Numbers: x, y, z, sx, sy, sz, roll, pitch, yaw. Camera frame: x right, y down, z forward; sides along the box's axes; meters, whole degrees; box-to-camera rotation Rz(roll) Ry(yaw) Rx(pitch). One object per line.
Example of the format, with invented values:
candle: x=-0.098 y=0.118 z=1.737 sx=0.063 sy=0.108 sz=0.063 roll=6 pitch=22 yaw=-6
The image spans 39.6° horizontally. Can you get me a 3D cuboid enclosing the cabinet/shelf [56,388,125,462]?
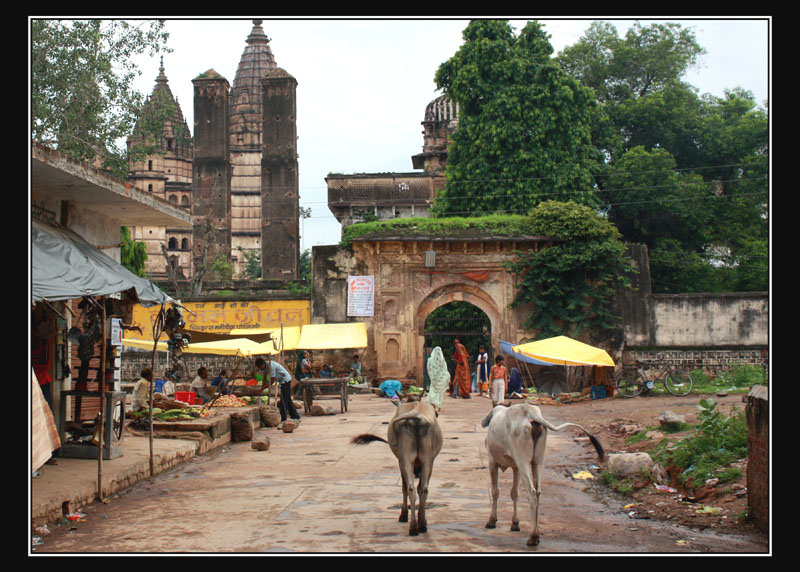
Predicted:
cabinet/shelf: x=-5.070 y=2.315 z=18.814 sx=1.125 sy=1.154 sz=1.085 roll=1 pitch=1 yaw=6

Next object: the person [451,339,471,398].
person: x=1.747 y=2.356 z=31.841 sx=0.476 sy=1.664 sz=1.162 roll=-1 pitch=-4 yaw=4

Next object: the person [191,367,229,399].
person: x=-4.506 y=2.376 z=26.589 sx=1.080 sy=0.466 sz=0.808 roll=-4 pitch=-6 yaw=-10

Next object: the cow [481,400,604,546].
cow: x=1.608 y=2.599 z=15.521 sx=0.481 sy=1.900 sz=1.025 roll=2 pitch=-5 yaw=-34

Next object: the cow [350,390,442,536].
cow: x=0.221 y=2.524 z=15.684 sx=0.671 sy=1.819 sz=0.801 roll=1 pitch=-4 yaw=-22

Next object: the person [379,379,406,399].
person: x=-0.311 y=2.889 z=31.764 sx=0.915 sy=0.481 sz=1.198 roll=0 pitch=-2 yaw=8

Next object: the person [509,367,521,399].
person: x=3.075 y=2.619 z=30.249 sx=0.340 sy=0.787 sz=1.186 roll=-1 pitch=-5 yaw=5

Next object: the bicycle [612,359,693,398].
bicycle: x=6.947 y=2.476 z=30.019 sx=2.407 sy=1.219 sz=0.972 roll=0 pitch=-1 yaw=-4
